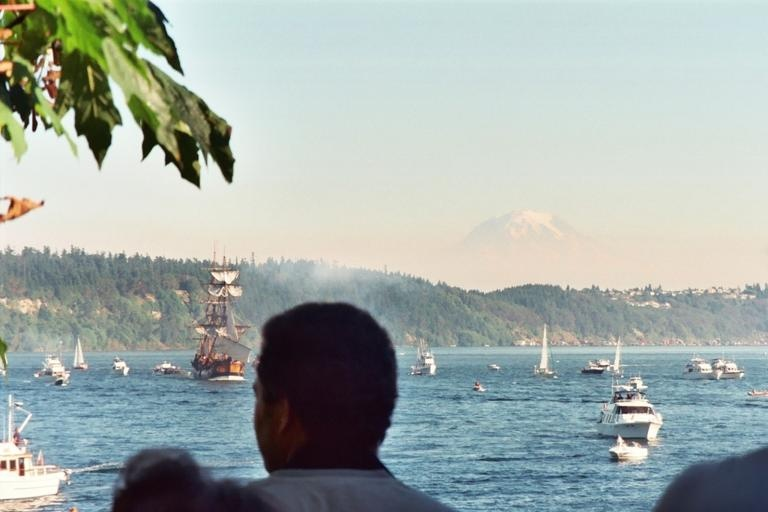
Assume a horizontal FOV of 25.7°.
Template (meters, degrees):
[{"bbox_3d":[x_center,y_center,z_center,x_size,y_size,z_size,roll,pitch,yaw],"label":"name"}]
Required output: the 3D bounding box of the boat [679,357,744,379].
[{"bbox_3d":[86.748,29.364,446.764,14.432,4.690,14.597,0,-1,12],"label":"boat"}]

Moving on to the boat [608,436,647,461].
[{"bbox_3d":[52.584,41.018,365.600,8.248,4.893,6.839,0,-1,-36],"label":"boat"}]
